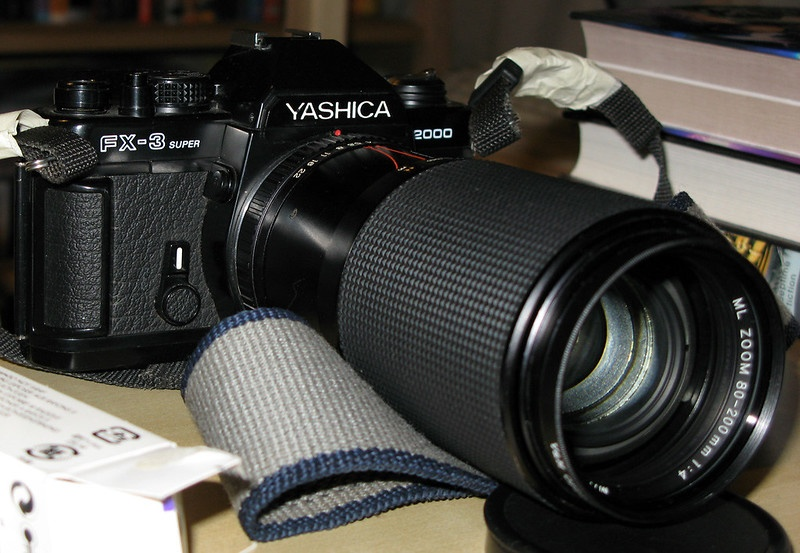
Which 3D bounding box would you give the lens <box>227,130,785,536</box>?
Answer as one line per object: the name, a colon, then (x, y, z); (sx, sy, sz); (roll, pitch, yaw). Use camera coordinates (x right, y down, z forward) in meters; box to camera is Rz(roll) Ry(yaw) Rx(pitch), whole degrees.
lens: (0.081, 0.025, 0.712); (0.329, 0.186, 0.427); (-3, 15, -25)
